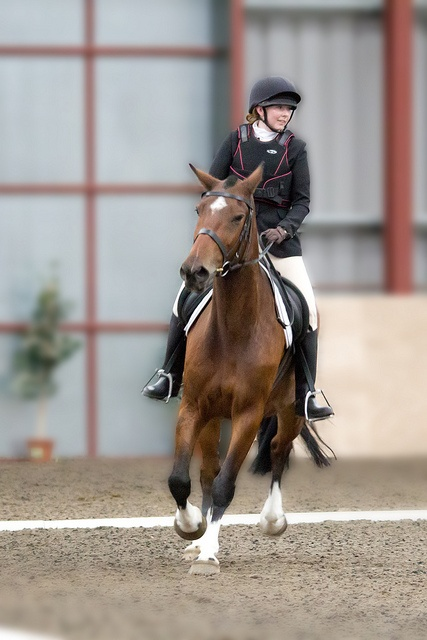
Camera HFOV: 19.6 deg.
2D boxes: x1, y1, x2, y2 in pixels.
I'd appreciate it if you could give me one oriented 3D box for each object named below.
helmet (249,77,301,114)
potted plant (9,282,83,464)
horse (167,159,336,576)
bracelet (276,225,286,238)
[{"bbox_3d":[0.382,-1.423,7.780,0.316,0.220,0.219,2,5,1],"label":"helmet"},{"bbox_3d":[-1.750,0.387,12.809,0.705,1.632,0.275,0,5,-11],"label":"potted plant"},{"bbox_3d":[0.117,0.278,7.432,0.541,2.387,1.871,3,5,18],"label":"horse"},{"bbox_3d":[0.411,-0.552,7.655,0.021,0.060,0.053,-31,-2,-3],"label":"bracelet"}]
